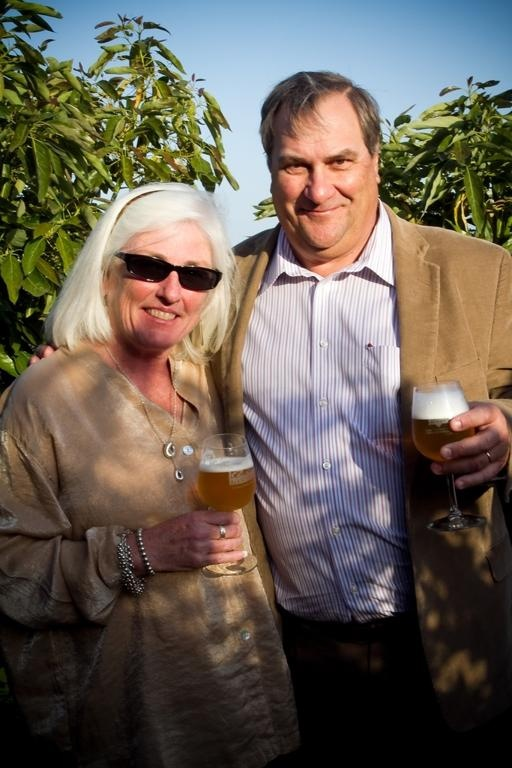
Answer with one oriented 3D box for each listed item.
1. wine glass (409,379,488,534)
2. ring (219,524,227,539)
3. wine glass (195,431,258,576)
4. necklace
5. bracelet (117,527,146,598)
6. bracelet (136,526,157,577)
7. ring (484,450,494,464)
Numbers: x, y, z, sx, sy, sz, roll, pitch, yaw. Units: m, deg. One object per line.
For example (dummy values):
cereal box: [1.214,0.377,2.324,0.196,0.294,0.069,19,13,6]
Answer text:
wine glass: [0.569,0.212,1.893,0.185,0.374,0.166,-1,-8,-23]
ring: [-0.097,0.432,1.895,0.017,0.041,0.044,0,0,-9]
wine glass: [-0.084,0.347,1.874,0.149,0.297,0.143,-5,-5,35]
necklace: [-0.352,0.070,2.173,0.172,0.501,0.024,-15,-15,-33]
bracelet: [-0.357,0.525,1.854,0.055,0.145,0.117,-15,18,-5]
bracelet: [-0.319,0.490,1.864,0.031,0.137,0.063,-16,14,-13]
ring: [0.688,0.211,1.905,0.013,0.031,0.023,-5,14,14]
